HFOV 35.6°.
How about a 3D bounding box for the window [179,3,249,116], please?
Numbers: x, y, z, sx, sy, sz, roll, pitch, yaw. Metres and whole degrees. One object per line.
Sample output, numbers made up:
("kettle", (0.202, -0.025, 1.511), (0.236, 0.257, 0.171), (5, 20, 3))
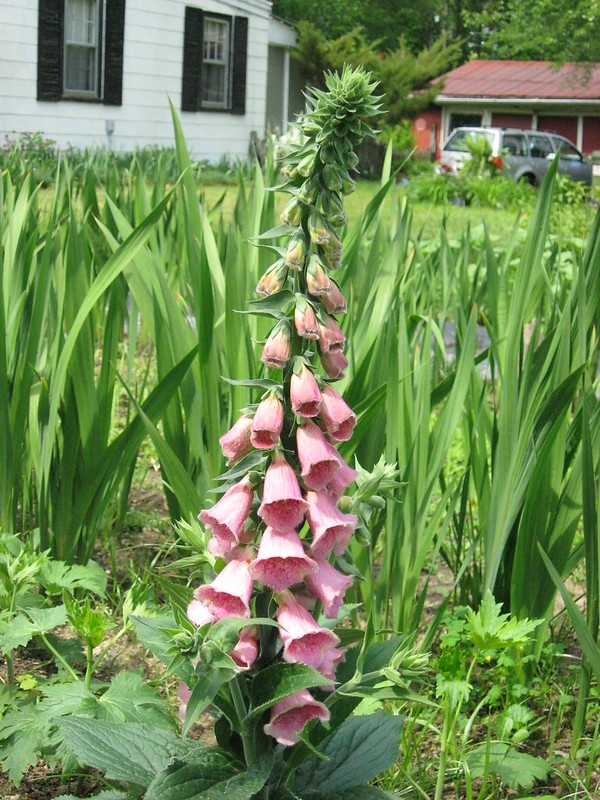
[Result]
("window", (-1.345, -5.300, 14.521), (0.151, 2.210, 1.495), (2, 3, 40))

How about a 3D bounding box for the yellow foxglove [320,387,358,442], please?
("yellow foxglove", (0.048, 0.018, 1.257), (0.029, 0.038, 0.082), (18, 44, -53))

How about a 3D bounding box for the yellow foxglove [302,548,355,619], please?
("yellow foxglove", (0.031, 0.236, 1.298), (0.048, 0.067, 0.089), (28, 10, -40))

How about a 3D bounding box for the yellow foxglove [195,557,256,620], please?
("yellow foxglove", (-0.098, 0.240, 1.233), (0.076, 0.090, 0.058), (5, 10, 8))

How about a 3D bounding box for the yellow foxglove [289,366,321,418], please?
("yellow foxglove", (0.009, -0.016, 1.206), (0.041, 0.065, 0.049), (1, 10, -9))

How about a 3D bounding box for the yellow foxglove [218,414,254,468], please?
("yellow foxglove", (-0.083, 0.042, 1.279), (0.034, 0.073, 0.025), (31, 4, 22))

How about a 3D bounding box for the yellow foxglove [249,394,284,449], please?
("yellow foxglove", (-0.042, 0.025, 1.210), (0.023, 0.021, 0.064), (41, 34, -21))
